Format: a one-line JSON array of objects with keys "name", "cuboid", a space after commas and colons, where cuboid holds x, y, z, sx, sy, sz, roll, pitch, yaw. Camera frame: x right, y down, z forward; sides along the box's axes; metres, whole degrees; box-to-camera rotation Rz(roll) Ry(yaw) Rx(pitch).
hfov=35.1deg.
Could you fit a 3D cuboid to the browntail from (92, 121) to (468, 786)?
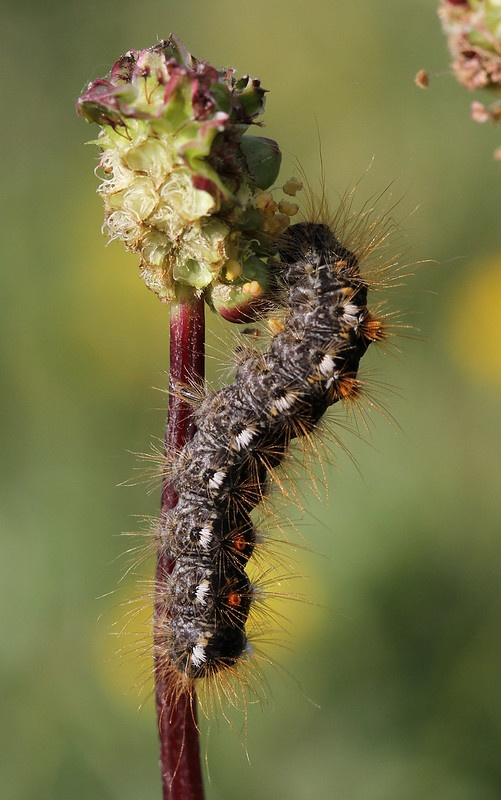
[{"name": "browntail", "cuboid": [-0.016, 0.130, 0.839, 0.267, 0.763, 0.157, 3, 7, -16]}]
